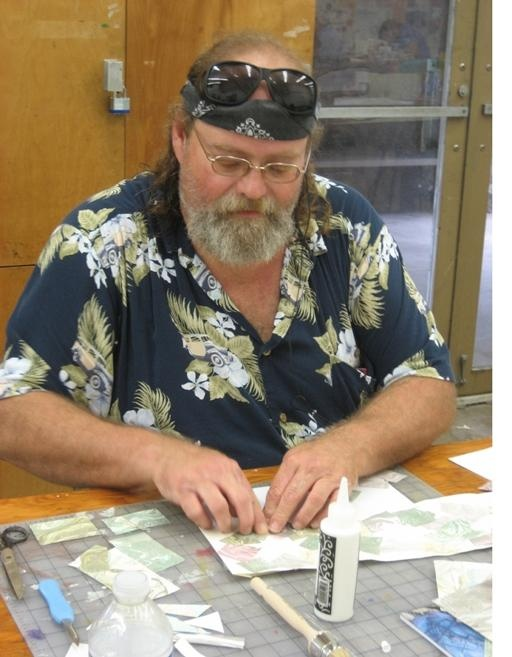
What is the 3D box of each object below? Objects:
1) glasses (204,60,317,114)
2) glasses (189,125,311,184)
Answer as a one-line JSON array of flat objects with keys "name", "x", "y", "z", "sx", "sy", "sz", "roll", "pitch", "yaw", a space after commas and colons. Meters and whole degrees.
[{"name": "glasses", "x": 0.014, "y": -0.506, "z": 1.408, "sx": 0.258, "sy": 0.101, "sz": 0.122, "roll": 2, "pitch": 12, "yaw": -6}, {"name": "glasses", "x": -0.015, "y": -0.373, "z": 1.434, "sx": 0.234, "sy": 0.107, "sz": 0.107, "roll": 1, "pitch": 12, "yaw": -8}]
